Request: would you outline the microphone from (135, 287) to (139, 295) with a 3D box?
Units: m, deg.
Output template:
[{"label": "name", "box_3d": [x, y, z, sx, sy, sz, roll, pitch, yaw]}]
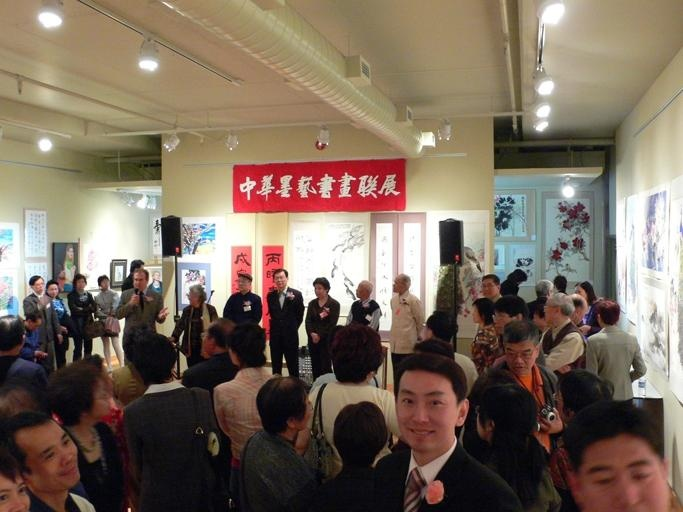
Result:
[{"label": "microphone", "box_3d": [-2.944, 0.511, 7.452, 0.071, 0.108, 0.031, -11, 6, 4]}]

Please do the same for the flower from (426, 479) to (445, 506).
[{"label": "flower", "box_3d": [0.342, 0.858, 1.872, 0.071, 0.085, 0.038, 2, -2, -7]}]

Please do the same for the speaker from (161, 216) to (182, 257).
[{"label": "speaker", "box_3d": [-2.888, -0.332, 8.728, 0.432, 0.681, 0.208, 1, -2, 20]}]

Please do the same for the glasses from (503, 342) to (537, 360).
[{"label": "glasses", "box_3d": [1.184, 0.615, 3.393, 0.206, 0.111, 0.120, 1, -3, 12]}]

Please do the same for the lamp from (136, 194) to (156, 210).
[{"label": "lamp", "box_3d": [-4.267, -1.171, 11.379, 0.394, 0.348, 1.482, 3, -3, -21]}]
